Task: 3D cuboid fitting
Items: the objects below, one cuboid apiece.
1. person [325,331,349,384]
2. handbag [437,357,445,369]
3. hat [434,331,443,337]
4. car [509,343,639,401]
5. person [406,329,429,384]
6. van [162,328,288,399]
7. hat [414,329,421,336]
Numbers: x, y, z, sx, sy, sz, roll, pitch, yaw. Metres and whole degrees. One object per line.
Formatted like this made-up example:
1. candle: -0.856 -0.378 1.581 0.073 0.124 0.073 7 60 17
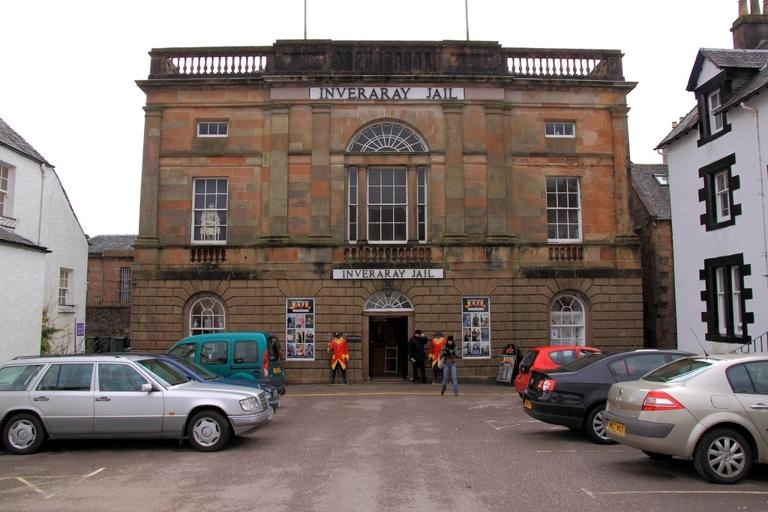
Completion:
1. person: -1.856 4.181 30.900 0.789 2.075 0.711 1 11 7
2. handbag: 2.167 4.037 28.545 0.240 0.385 0.097 2 -13 41
3. hat: 2.197 3.126 30.482 0.286 0.125 0.335 -1 -10 2
4. car: 5.989 3.868 25.124 3.183 1.479 1.713 -4 -4 -4
5. person: 1.418 4.083 31.226 0.790 2.214 0.947 1 11 6
6. van: -5.107 3.496 25.112 3.369 1.682 1.934 2 -8 5
7. hat: 1.426 3.148 31.065 0.307 0.318 0.608 0 10 -1
